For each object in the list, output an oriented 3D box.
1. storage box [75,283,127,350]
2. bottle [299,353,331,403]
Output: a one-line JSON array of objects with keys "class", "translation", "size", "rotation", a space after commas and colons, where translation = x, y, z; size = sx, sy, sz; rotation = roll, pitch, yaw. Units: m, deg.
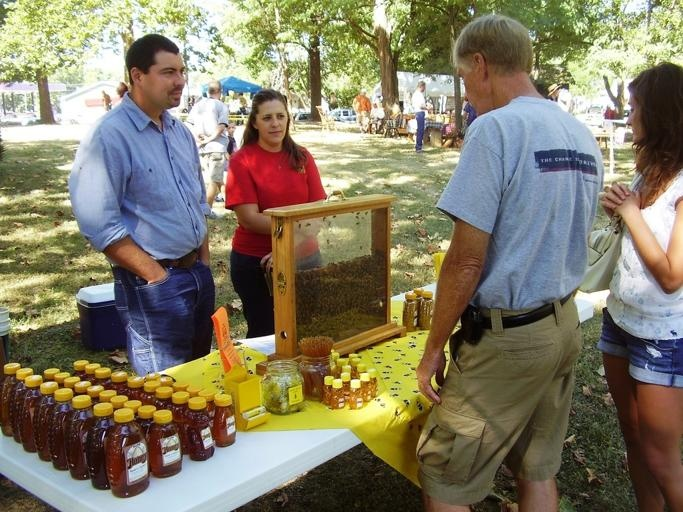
[{"class": "storage box", "translation": [-2.406, 0.616, 5.249], "size": [0.497, 0.588, 0.350], "rotation": [-4, 9, -43]}, {"class": "bottle", "translation": [-0.143, 0.632, 2.747], "size": [0.182, 0.252, 0.214], "rotation": [0, -3, -1]}]
